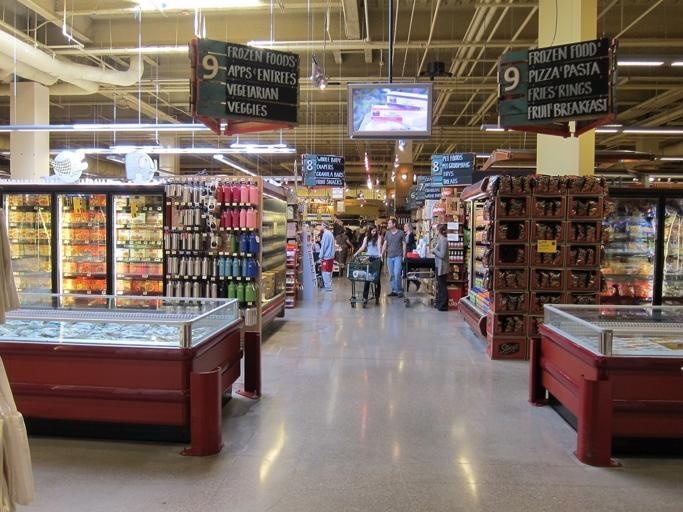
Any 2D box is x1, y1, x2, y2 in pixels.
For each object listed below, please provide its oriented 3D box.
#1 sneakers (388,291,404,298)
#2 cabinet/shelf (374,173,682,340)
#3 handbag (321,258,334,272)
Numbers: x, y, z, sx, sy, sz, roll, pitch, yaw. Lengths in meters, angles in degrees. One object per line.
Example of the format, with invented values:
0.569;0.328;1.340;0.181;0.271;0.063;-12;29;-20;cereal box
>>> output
1.361;0.938;15.015;0.384;0.165;0.132;4;1;7;sneakers
3.495;-0.058;9.802;2.539;2.338;3.789;0;2;3;cabinet/shelf
-0.370;0.251;17.207;0.384;0.321;0.581;4;-24;0;handbag
